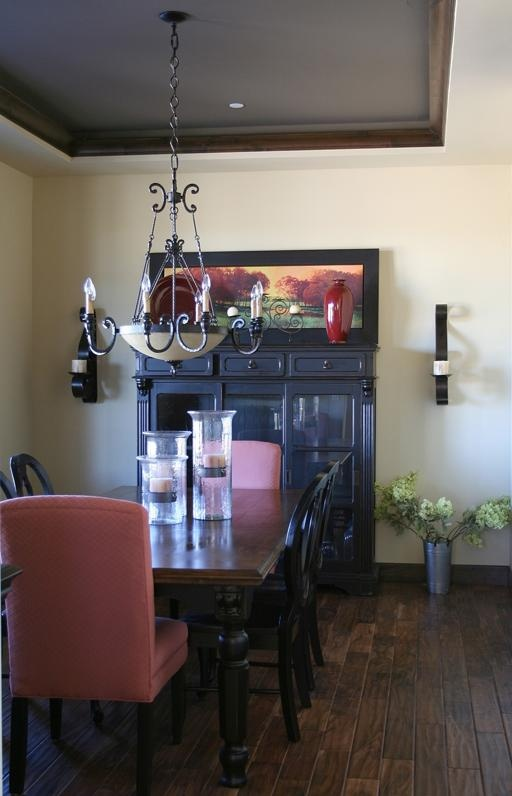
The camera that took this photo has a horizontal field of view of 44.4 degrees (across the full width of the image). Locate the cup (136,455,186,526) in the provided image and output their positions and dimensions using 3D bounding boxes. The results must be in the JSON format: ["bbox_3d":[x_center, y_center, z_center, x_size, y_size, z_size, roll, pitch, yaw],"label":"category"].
[{"bbox_3d":[-0.305,0.305,2.128,0.207,0.284,0.210,0,-1,0],"label":"cup"}]

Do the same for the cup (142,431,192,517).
[{"bbox_3d":[-0.321,0.273,2.198,0.171,0.329,0.185,2,-2,0],"label":"cup"}]

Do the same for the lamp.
[{"bbox_3d":[-0.288,-1.159,3.476,0.950,2.323,1.252,-1,6,-3],"label":"lamp"}]
